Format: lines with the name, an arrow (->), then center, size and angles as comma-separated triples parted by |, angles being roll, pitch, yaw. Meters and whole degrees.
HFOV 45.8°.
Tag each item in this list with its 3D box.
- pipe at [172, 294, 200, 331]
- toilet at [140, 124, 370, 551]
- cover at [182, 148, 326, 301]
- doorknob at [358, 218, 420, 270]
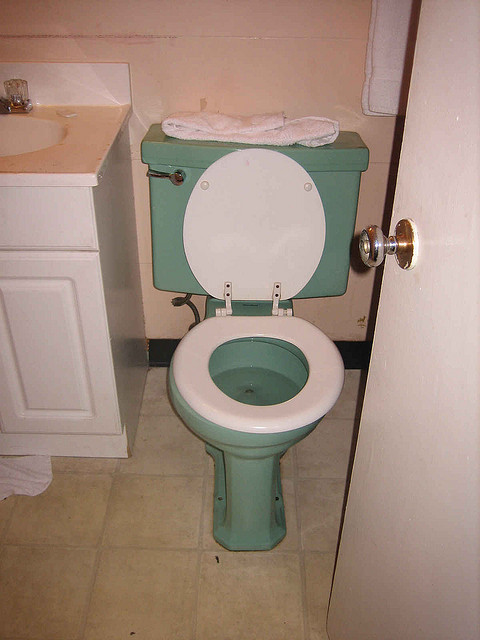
pipe -> -0.150, -0.026, 1.565 | 0.045, 0.096, 0.026 | -8, 56, -8
toilet -> 0.024, 0.044, 1.250 | 0.447, 0.798, 0.605 | 0, 31, -2
cover -> 0.026, -0.204, 1.229 | 0.234, 0.303, 0.084 | 2, 13, 2
doorknob -> 0.149, -0.077, 0.576 | 0.052, 0.060, 0.058 | 1, 14, 14
